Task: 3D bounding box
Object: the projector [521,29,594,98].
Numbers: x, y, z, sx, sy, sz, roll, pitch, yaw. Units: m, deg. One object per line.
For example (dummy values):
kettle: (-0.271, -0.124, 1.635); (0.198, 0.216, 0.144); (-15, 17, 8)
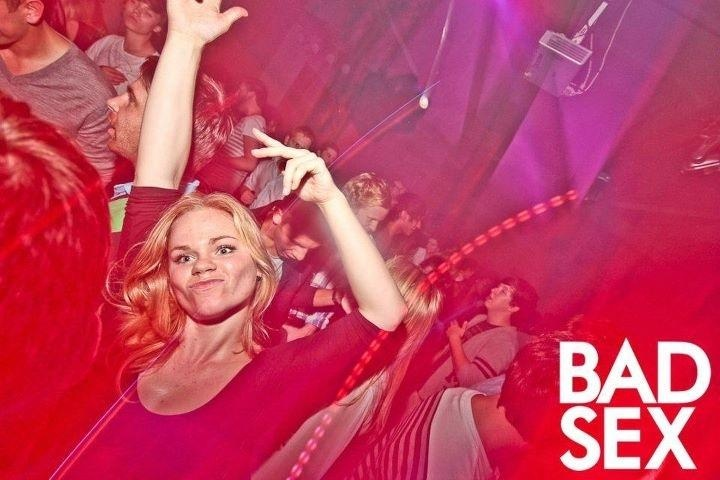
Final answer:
projector: (1.590, -1.449, 4.366); (0.466, 0.509, 0.138); (32, 41, 1)
